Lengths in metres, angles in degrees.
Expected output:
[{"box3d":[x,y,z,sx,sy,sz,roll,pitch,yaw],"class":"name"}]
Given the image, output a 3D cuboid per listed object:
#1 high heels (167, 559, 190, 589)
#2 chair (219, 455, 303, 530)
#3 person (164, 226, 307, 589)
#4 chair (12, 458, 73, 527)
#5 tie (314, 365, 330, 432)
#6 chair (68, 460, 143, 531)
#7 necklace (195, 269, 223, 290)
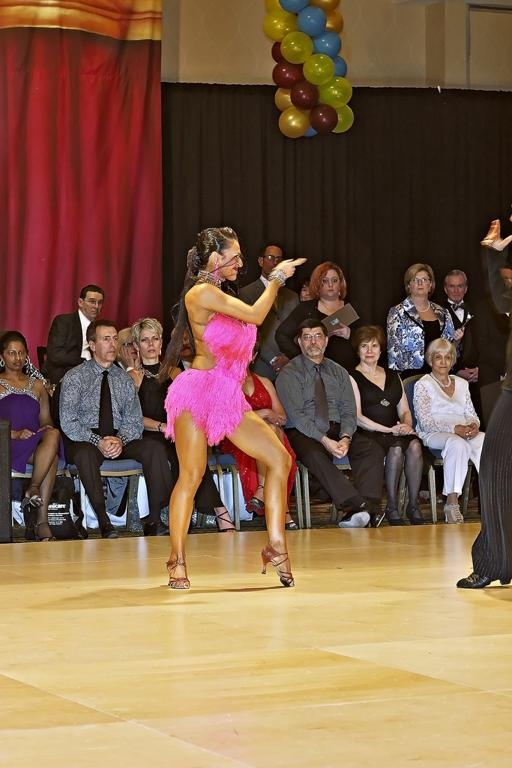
[{"box3d":[-0.355,0.863,3.069,0.103,0.123,0.115,0,-3,-8],"class":"high heels"},{"box3d":[0.087,0.891,5.685,0.637,0.715,0.391,-2,21,2],"class":"chair"},{"box3d":[-0.121,0.084,3.222,0.622,1.747,0.591,0,-2,-9],"class":"person"},{"box3d":[-1.600,0.853,5.307,0.388,0.592,0.598,2,-2,-14],"class":"chair"},{"box3d":[0.568,0.119,5.834,0.114,0.556,0.100,0,-2,7],"class":"tie"},{"box3d":[-1.168,0.919,5.582,0.623,0.696,0.613,1,-7,-12],"class":"chair"},{"box3d":[-0.213,-0.488,3.139,0.098,0.066,0.079,4,4,44],"class":"necklace"}]
